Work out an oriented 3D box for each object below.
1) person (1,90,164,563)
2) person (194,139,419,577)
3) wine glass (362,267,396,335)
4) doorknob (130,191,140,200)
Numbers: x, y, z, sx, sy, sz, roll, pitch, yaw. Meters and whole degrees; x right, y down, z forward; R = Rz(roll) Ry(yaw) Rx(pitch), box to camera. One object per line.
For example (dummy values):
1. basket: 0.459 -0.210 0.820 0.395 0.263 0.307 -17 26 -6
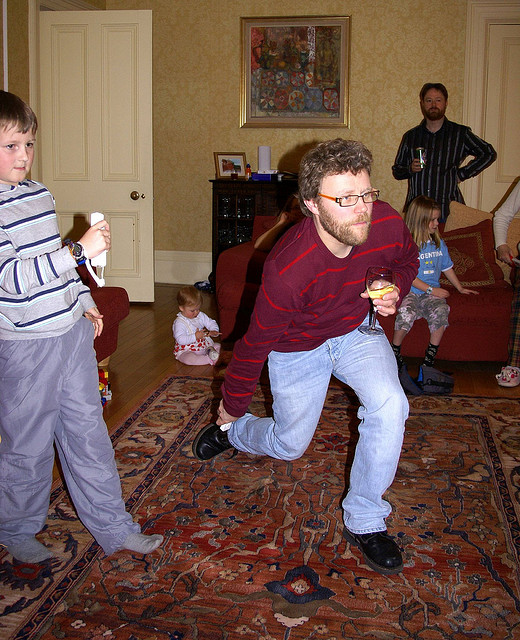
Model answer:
1. person: -0.525 0.084 1.381 0.432 1.288 0.415 -3 12 -20
2. person: 0.146 0.079 1.664 0.653 1.219 0.604 3 11 10
3. wine glass: 0.392 -0.066 1.659 0.100 0.223 0.310 3 10 14
4. doorknob: -1.250 -1.248 5.071 0.080 0.079 0.040 -2 11 -13
